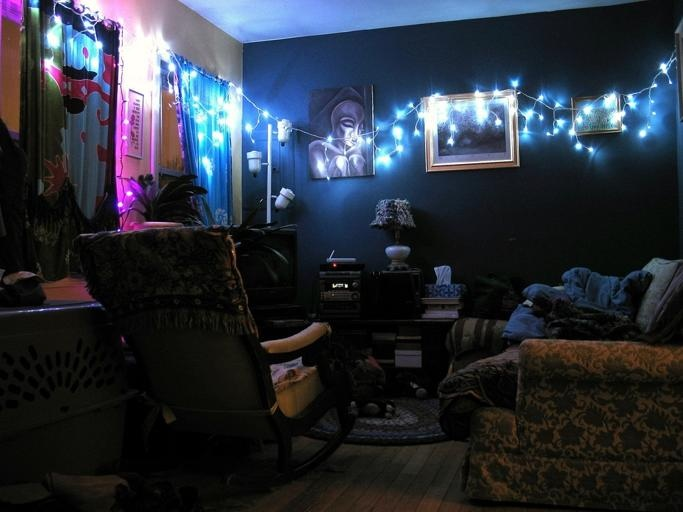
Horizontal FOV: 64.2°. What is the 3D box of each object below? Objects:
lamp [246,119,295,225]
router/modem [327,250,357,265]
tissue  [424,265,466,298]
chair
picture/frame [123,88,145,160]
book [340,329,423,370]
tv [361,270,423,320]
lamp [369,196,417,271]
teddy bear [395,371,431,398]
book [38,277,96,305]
[{"bbox_3d":[-0.649,-0.787,4.902,0.482,0.967,0.359,0,5,2],"label":"lamp"},{"bbox_3d":[0.005,0.039,4.378,0.145,0.101,0.151,-1,-5,5],"label":"router/modem"},{"bbox_3d":[0.830,0.231,4.337,0.248,0.258,0.262,-3,-7,27],"label":"tissue "},{"bbox_3d":[-0.518,0.509,2.781,0.773,1.126,1.215,-6,-11,26],"label":"chair"},{"bbox_3d":[-1.502,-0.961,3.988,0.251,0.481,0.023,21,20,41],"label":"picture/frame"},{"bbox_3d":[0.380,0.708,4.182,0.383,0.194,0.374,0,-1,15],"label":"book"},{"bbox_3d":[0.388,0.313,4.230,0.378,0.305,0.394,-1,0,19],"label":"tv"},{"bbox_3d":[0.394,-0.173,4.672,0.492,0.755,0.513,-3,-2,13],"label":"lamp"},{"bbox_3d":[0.545,0.980,4.137,0.308,0.147,0.260,2,6,20],"label":"teddy bear"},{"bbox_3d":[-1.613,0.248,3.241,0.309,0.073,0.281,9,30,-42],"label":"book"}]
